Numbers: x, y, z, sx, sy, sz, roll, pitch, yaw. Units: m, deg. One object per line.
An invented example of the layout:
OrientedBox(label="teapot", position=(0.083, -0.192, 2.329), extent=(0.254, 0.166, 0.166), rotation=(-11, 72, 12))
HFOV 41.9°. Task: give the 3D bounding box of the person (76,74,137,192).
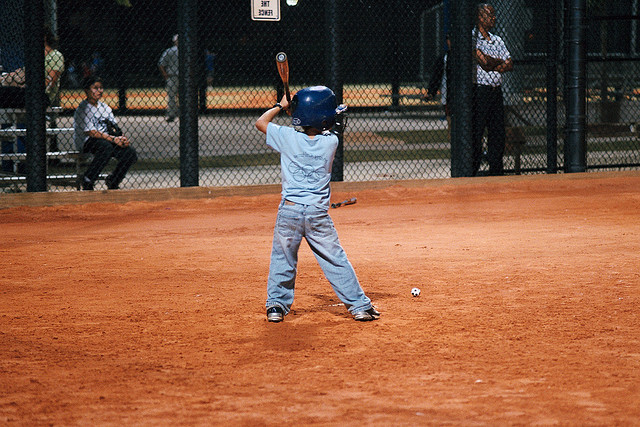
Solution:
OrientedBox(label="person", position=(-3.115, -1.171, 11.864), extent=(0.889, 1.652, 0.665), rotation=(1, 3, 18))

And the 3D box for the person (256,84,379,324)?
OrientedBox(label="person", position=(-0.063, -0.085, 7.125), extent=(0.931, 2.008, 0.377), rotation=(0, 3, -4))

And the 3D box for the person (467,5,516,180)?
OrientedBox(label="person", position=(2.495, -1.720, 12.044), extent=(0.599, 2.443, 1.181), rotation=(1, 3, 16))
